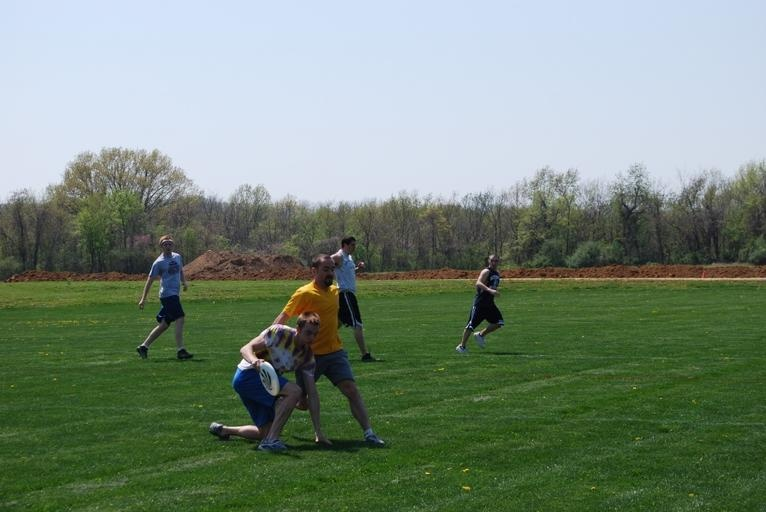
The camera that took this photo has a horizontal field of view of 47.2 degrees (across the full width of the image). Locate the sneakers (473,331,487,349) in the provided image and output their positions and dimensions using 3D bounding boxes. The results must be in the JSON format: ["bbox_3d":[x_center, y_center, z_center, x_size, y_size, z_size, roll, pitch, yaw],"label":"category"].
[{"bbox_3d":[2.396,2.111,21.767,0.233,0.487,0.174,-21,17,2],"label":"sneakers"}]

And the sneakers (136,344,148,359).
[{"bbox_3d":[-5.753,2.308,20.914,0.142,0.319,0.116,-16,20,-1],"label":"sneakers"}]

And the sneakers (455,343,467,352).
[{"bbox_3d":[1.893,2.273,21.545,0.225,0.133,0.396,0,12,3],"label":"sneakers"}]

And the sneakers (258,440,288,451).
[{"bbox_3d":[-1.899,3.242,14.939,0.558,0.222,0.184,-2,-2,8],"label":"sneakers"}]
